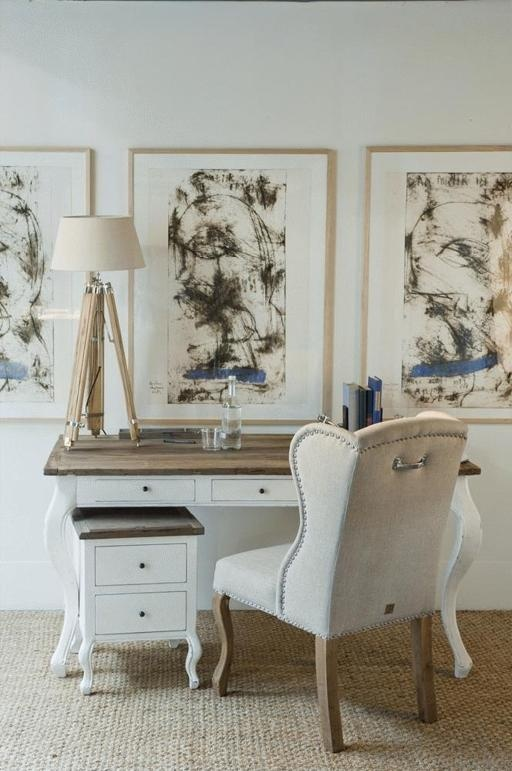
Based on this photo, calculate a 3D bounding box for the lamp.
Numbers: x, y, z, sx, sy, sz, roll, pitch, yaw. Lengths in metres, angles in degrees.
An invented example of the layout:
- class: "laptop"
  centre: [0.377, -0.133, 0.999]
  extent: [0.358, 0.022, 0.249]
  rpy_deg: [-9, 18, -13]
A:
- class: "lamp"
  centre: [-0.561, -0.213, 2.651]
  extent: [0.307, 0.834, 0.428]
  rpy_deg: [0, 4, -12]

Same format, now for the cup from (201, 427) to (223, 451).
- class: "cup"
  centre: [-0.152, 0.197, 2.622]
  extent: [0.079, 0.073, 0.062]
  rpy_deg: [1, -1, -32]

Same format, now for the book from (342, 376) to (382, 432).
- class: "book"
  centre: [0.385, 0.072, 2.762]
  extent: [0.166, 0.235, 0.220]
  rpy_deg: [0, 4, 5]

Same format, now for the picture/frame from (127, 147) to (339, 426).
- class: "picture/frame"
  centre: [-0.110, -0.430, 2.844]
  extent: [1.057, 1.438, 0.055]
  rpy_deg: [0, 3, -4]

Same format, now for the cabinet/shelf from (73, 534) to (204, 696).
- class: "cabinet/shelf"
  centre: [-0.346, 0.722, 2.448]
  extent: [0.456, 0.572, 0.441]
  rpy_deg: [1, -6, -11]

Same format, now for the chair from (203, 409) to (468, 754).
- class: "chair"
  centre: [0.340, 0.421, 2.295]
  extent: [0.698, 1.208, 0.836]
  rpy_deg: [-3, 6, -34]
